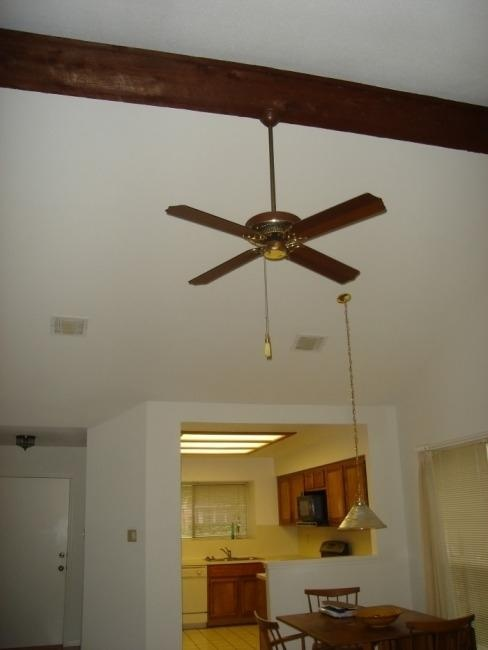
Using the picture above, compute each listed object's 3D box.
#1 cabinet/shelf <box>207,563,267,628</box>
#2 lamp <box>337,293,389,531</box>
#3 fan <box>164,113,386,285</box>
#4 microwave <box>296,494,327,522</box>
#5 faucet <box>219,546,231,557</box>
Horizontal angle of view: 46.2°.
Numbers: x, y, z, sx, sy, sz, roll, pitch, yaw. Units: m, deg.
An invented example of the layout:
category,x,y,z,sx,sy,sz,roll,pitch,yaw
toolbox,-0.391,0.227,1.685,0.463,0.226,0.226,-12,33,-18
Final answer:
category,x,y,z,sx,sy,sz,roll,pitch,yaw
cabinet/shelf,-0.124,3.627,7.705,0.757,0.798,0.254,1,-17,-13
lamp,0.837,0.673,4.421,0.401,1.817,0.379,-2,-2,-38
fan,0.109,-0.682,2.677,0.885,0.668,0.865,10,-31,-17
microwave,0.848,2.270,7.114,0.265,0.402,0.697,-2,-16,-2
faucet,-0.269,3.383,8.488,0.168,0.150,0.066,-2,-16,-2
